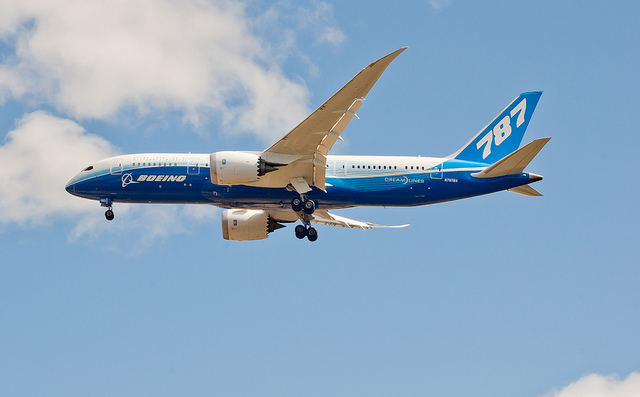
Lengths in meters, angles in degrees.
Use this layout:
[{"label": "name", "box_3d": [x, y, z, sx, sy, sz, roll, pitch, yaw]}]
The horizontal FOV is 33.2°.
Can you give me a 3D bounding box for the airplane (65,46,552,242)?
[{"label": "airplane", "box_3d": [0.536, -1.354, 59.690, 15.869, 4.778, 15.024, 2, -27, 3]}]
